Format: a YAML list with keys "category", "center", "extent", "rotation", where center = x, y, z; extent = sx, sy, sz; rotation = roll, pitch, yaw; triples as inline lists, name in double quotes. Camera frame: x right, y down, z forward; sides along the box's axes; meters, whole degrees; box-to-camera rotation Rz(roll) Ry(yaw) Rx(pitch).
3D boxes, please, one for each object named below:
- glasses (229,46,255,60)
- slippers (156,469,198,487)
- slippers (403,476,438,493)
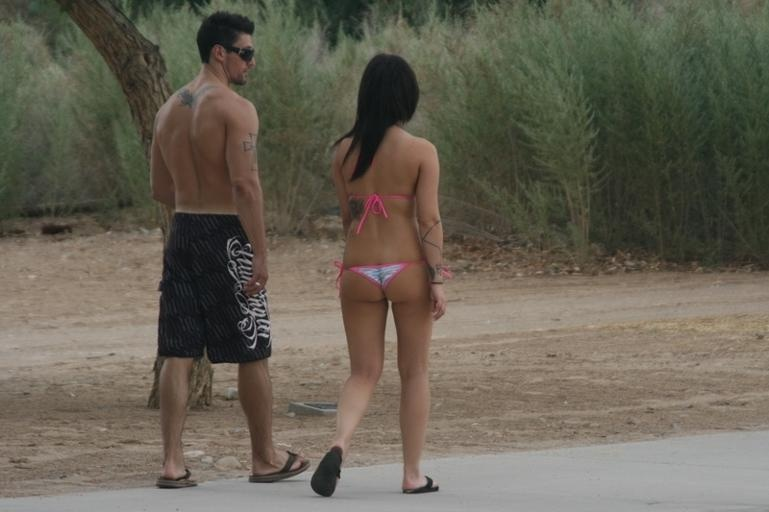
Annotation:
- category: "glasses"
  center: [-1.764, -2.513, 17.925]
  extent: [0.230, 0.085, 0.172]
  rotation: [5, 9, -5]
- category: "slippers"
  center: [-2.523, 2.688, 17.602]
  extent: [0.447, 0.165, 0.207]
  rotation: [2, 2, -30]
- category: "slippers"
  center: [0.441, 2.760, 17.526]
  extent: [0.355, 0.108, 0.181]
  rotation: [-2, 4, -4]
